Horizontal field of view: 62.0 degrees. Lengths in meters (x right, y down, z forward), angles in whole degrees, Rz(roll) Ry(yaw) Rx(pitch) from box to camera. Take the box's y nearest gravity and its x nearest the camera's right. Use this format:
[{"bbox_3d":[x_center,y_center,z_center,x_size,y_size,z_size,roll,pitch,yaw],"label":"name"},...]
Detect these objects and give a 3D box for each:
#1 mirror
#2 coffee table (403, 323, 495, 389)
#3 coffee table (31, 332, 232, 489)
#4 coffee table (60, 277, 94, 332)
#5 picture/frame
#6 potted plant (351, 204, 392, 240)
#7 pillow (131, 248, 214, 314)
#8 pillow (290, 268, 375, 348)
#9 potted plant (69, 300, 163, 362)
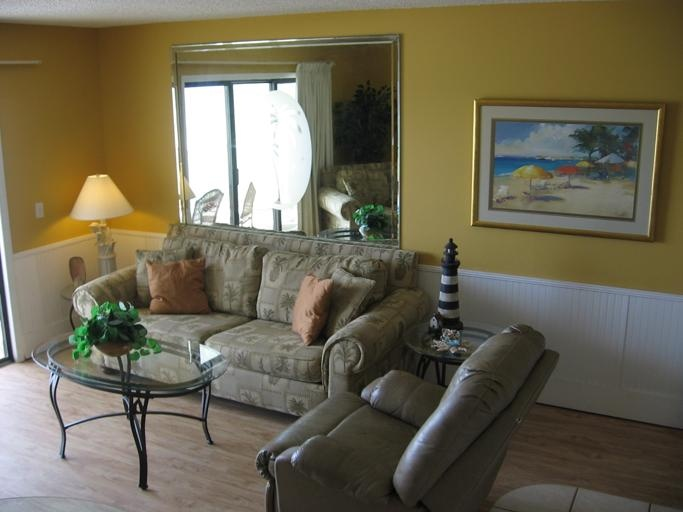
[{"bbox_3d":[-0.398,-0.995,4.685,1.808,1.330,0.061,5,13,26],"label":"mirror"},{"bbox_3d":[0.757,0.779,3.916,0.545,0.564,0.505,3,13,13],"label":"coffee table"},{"bbox_3d":[-1.355,0.946,3.753,1.246,0.798,0.691,5,12,19],"label":"coffee table"},{"bbox_3d":[-2.221,0.393,4.754,0.340,0.382,0.331,-8,57,-33],"label":"coffee table"},{"bbox_3d":[1.595,-0.619,3.889,1.003,0.749,0.035,5,12,22],"label":"picture/frame"},{"bbox_3d":[0.244,-0.272,4.533,0.278,0.275,0.281,1,2,15],"label":"potted plant"},{"bbox_3d":[-1.372,0.227,4.633,0.477,0.425,0.181,-3,-23,-7],"label":"pillow"},{"bbox_3d":[-0.043,0.404,4.141,0.523,0.529,0.162,15,-13,43],"label":"pillow"},{"bbox_3d":[-1.457,0.450,3.636,0.431,0.244,0.435,6,3,-2],"label":"potted plant"}]
